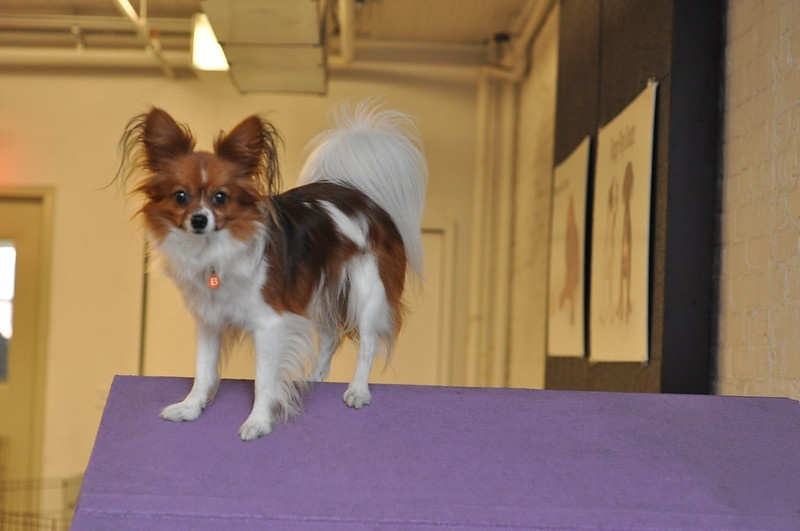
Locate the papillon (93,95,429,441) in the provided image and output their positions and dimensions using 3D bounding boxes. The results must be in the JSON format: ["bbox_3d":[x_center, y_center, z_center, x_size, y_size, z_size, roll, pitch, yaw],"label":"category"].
[{"bbox_3d":[-0.587,-0.044,5.682,0.634,1.620,1.933,7,11,37],"label":"papillon"}]

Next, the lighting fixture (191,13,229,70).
[{"bbox_3d":[-1.345,-1.609,7.419,0.255,0.139,0.380,-9,-37,-10],"label":"lighting fixture"}]
